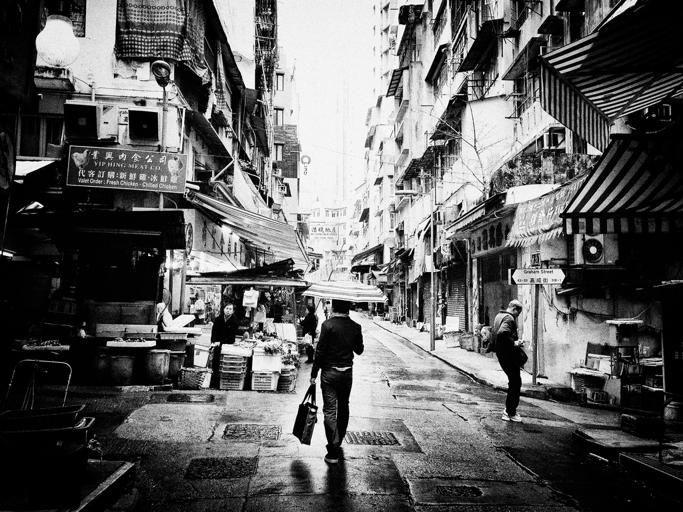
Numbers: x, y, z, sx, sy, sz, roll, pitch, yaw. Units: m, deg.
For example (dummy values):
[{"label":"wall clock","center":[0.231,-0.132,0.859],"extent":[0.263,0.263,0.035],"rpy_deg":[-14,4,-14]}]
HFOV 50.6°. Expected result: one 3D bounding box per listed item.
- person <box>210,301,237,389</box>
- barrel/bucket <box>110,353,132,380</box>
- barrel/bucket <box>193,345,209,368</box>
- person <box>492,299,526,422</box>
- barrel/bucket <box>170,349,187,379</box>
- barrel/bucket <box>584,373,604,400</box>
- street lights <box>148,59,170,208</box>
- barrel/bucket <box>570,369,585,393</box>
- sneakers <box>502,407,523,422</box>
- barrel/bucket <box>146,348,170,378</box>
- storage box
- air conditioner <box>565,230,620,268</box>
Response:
[{"label":"person","center":[-3.038,2.099,18.379],"extent":[0.602,2.100,0.580],"rpy_deg":[-5,33,-28]},{"label":"barrel/bucket","center":[-4.922,2.506,16.028],"extent":[0.444,0.563,0.498],"rpy_deg":[-1,-6,6]},{"label":"barrel/bucket","center":[-3.386,2.433,17.594],"extent":[0.385,0.584,0.439],"rpy_deg":[4,-14,-10]},{"label":"person","center":[3.593,2.170,15.025],"extent":[0.900,2.177,0.799],"rpy_deg":[0,-1,-3]},{"label":"barrel/bucket","center":[-3.811,2.529,16.861],"extent":[0.545,0.647,0.459],"rpy_deg":[3,-12,-14]},{"label":"barrel/bucket","center":[5.991,3.074,16.964],"extent":[0.263,0.615,0.625],"rpy_deg":[1,5,-10]},{"label":"street lights","center":[-4.818,-3.178,19.024],"extent":[0.538,4.521,0.498],"rpy_deg":[0,4,4]},{"label":"barrel/bucket","center":[5.711,2.970,17.511],"extent":[0.237,0.518,0.644],"rpy_deg":[2,5,-2]},{"label":"sneakers","center":[3.467,3.216,14.583],"extent":[0.390,0.232,0.192],"rpy_deg":[-2,-5,18]},{"label":"barrel/bucket","center":[-4.128,2.444,16.204],"extent":[0.509,0.627,0.525],"rpy_deg":[2,-8,0]},{"label":"storage box","center":[-2.351,2.507,16.707],"extent":[2.552,1.096,1.327],"rpy_deg":[3,5,4]},{"label":"air conditioner","center":[6.505,-0.165,18.818],"extent":[1.049,1.016,0.777],"rpy_deg":[-1,3,0]}]
